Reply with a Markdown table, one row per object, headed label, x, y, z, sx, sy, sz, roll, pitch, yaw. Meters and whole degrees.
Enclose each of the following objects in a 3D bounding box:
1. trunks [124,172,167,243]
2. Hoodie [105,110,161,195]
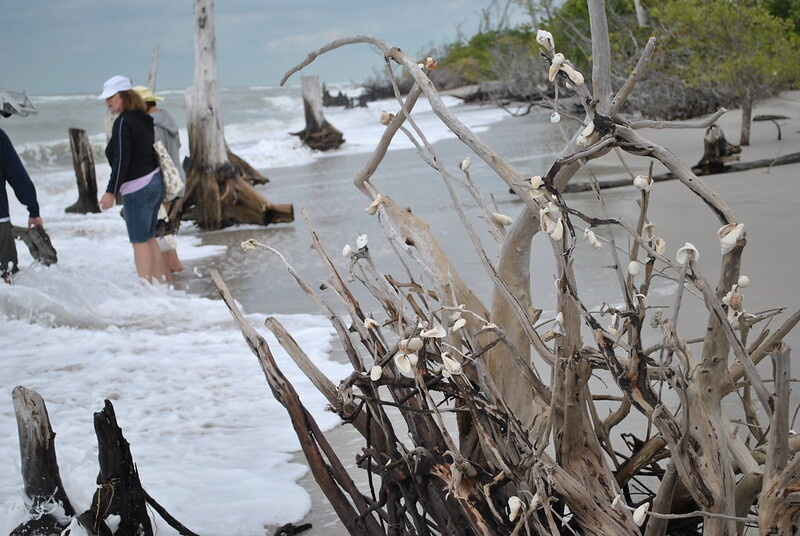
| label | x | y | z | sx | sy | sz | roll | pitch | yaw |
| --- | --- | --- | --- | --- | --- | --- | --- | --- | --- |
| trunks | -3.589 | -0.888 | 17.805 | 0.562 | 0.987 | 0.708 | 5 | 16 | 7 |
| Hoodie | -3.807 | -1.606 | 17.871 | 0.777 | 1.197 | 1.451 | 2 | 9 | 6 |
